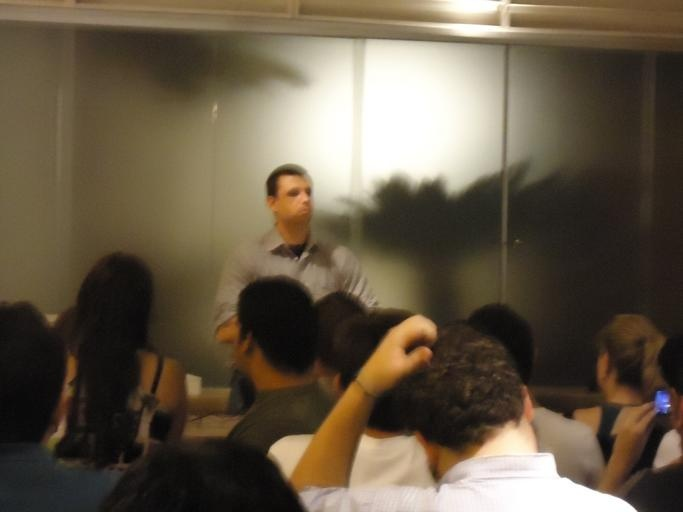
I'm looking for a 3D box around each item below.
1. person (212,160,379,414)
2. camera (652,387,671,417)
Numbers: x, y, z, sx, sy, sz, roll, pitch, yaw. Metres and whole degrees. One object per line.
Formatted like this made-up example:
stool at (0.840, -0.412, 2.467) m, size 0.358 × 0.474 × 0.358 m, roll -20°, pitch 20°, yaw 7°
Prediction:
person at (-0.182, 0.327, 2.480) m, size 0.574 × 1.319 × 0.615 m, roll 0°, pitch 2°, yaw -5°
camera at (1.268, 0.579, 2.615) m, size 0.070 × 0.097 × 0.033 m, roll 0°, pitch -3°, yaw 4°
